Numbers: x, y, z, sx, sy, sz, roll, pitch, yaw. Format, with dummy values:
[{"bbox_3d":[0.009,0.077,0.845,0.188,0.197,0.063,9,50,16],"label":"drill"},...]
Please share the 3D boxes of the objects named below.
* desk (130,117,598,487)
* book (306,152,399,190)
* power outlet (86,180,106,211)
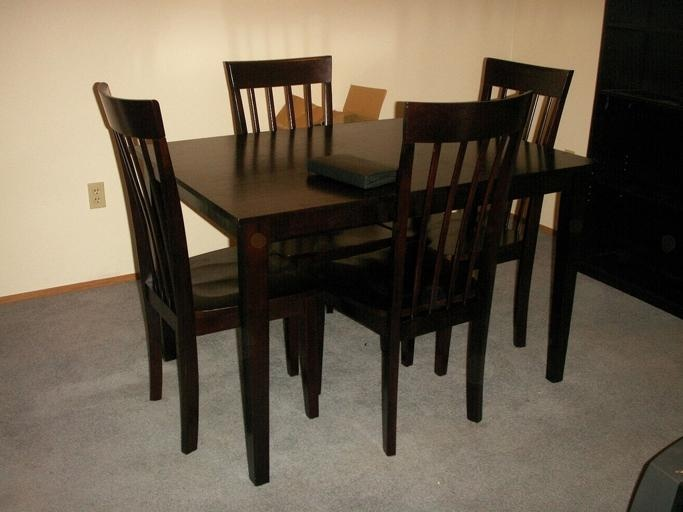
[{"bbox_3d":[-0.064,-0.093,2.599,1.663,0.896,1.706,-11,29,-20],"label":"desk"},{"bbox_3d":[0.030,-0.279,1.958,0.325,0.060,0.148,24,36,37],"label":"book"},{"bbox_3d":[-1.250,-0.302,2.983,0.113,0.211,0.021,-10,25,-35],"label":"power outlet"}]
